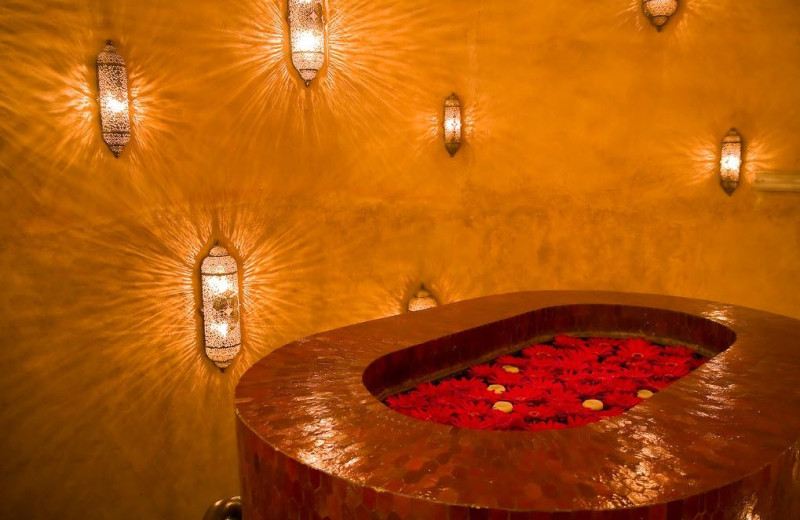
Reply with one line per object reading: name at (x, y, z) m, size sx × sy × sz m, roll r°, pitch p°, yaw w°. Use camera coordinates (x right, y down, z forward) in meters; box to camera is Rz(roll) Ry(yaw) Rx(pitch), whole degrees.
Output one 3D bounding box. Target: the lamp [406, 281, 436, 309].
lamp at (0.193, 0.350, 5.856) m, size 0.300 × 0.208 × 0.158 m, roll -14°, pitch -53°, yaw -3°
